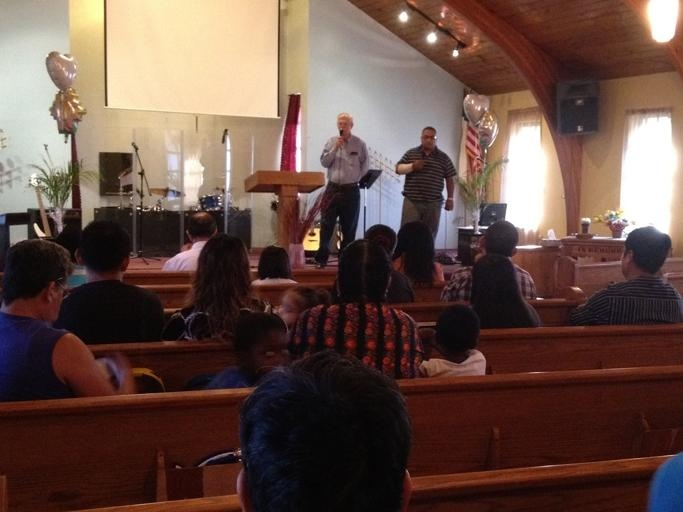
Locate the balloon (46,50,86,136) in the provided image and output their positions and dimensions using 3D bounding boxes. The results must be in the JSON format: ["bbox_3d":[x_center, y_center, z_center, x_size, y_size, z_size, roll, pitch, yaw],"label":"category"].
[{"bbox_3d":[-3.409,-2.021,6.962,0.408,1.002,0.446,0,6,-30],"label":"balloon"}]

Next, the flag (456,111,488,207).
[{"bbox_3d":[2.654,-2.068,11.688,0.659,0.522,2.780,-10,-24,8],"label":"flag"}]

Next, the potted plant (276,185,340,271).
[{"bbox_3d":[-0.394,-0.363,6.176,0.734,1.187,0.675,3,-3,-25],"label":"potted plant"}]

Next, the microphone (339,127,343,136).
[{"bbox_3d":[0.006,-1.361,6.169,0.046,0.085,0.081,-2,-2,2],"label":"microphone"}]

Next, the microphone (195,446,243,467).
[{"bbox_3d":[-0.356,0.591,1.639,0.119,0.055,0.093,1,6,-18],"label":"microphone"}]

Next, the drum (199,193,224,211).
[{"bbox_3d":[-2.103,-0.874,9.237,0.407,0.247,0.306,-1,7,-31],"label":"drum"}]

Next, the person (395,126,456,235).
[{"bbox_3d":[0.974,-0.862,6.499,0.681,1.303,1.018,3,5,10],"label":"person"}]

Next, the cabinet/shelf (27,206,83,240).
[{"bbox_3d":[-3.616,-0.423,7.105,0.531,0.531,0.293,-2,-2,-24],"label":"cabinet/shelf"}]

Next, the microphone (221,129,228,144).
[{"bbox_3d":[-2.058,-2.119,9.949,0.071,0.241,0.422,1,6,-19],"label":"microphone"}]

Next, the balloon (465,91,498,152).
[{"bbox_3d":[2.263,-2.223,9.102,0.362,0.732,0.665,7,7,40],"label":"balloon"}]

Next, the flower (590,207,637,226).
[{"bbox_3d":[3.792,-0.548,7.737,0.587,0.277,0.588,0,-1,20],"label":"flower"}]

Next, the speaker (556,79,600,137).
[{"bbox_3d":[3.987,-2.578,9.362,0.642,0.913,0.624,3,36,28],"label":"speaker"}]
